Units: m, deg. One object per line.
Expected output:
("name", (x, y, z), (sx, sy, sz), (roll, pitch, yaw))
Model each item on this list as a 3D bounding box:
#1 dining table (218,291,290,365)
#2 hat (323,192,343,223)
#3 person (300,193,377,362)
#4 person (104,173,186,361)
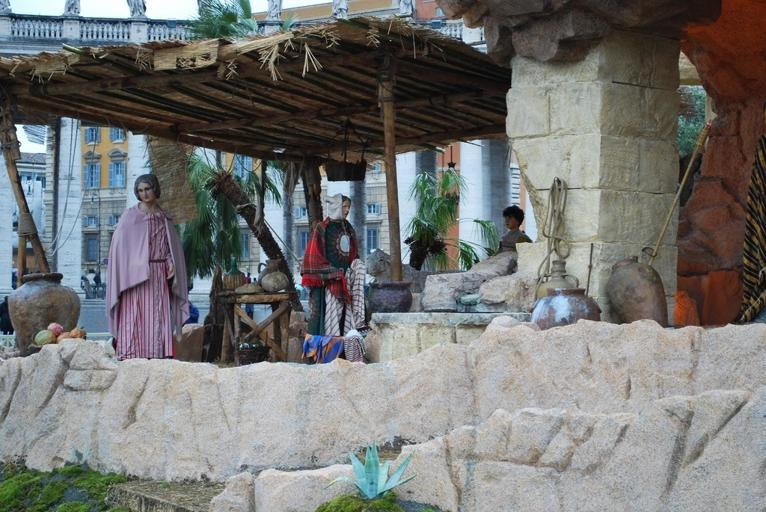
("dining table", (-1.809, 1.179, 30.619), (1.136, 1.408, 1.114), (1, -2, -13))
("hat", (-0.685, -0.711, 29.117), (0.339, 0.339, 0.274), (-6, -2, 41))
("person", (-0.722, 0.141, 28.894), (0.929, 2.070, 0.503), (-2, 2, -10))
("person", (-3.404, 0.175, 28.299), (1.182, 2.671, 0.409), (-2, 2, -13))
